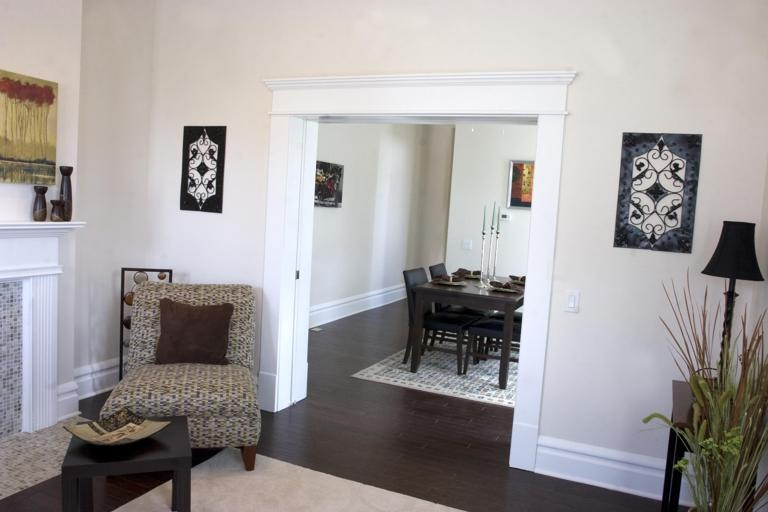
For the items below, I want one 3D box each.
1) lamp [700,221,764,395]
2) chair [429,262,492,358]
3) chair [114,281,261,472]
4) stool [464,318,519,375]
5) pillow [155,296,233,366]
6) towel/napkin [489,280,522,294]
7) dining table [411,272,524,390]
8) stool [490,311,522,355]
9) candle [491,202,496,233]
[{"bbox_3d":[2.253,0.208,3.544,0.350,0.845,1.022,11,14,34],"label":"lamp"},{"bbox_3d":[0.924,0.444,6.875,0.735,0.976,0.557,3,6,27],"label":"chair"},{"bbox_3d":[-1.515,0.889,4.591,1.284,1.295,1.336,0,3,-8],"label":"chair"},{"bbox_3d":[1.265,0.958,6.326,0.643,0.570,0.618,3,11,17],"label":"stool"},{"bbox_3d":[-1.563,0.637,4.440,0.519,0.467,0.197,0,-8,-3],"label":"pillow"},{"bbox_3d":[1.355,0.358,6.164,0.181,0.061,0.244,-3,7,-44],"label":"towel/napkin"},{"bbox_3d":[0.984,0.840,6.246,1.115,0.980,1.132,5,6,23],"label":"dining table"},{"bbox_3d":[1.355,0.847,6.088,0.384,0.304,0.607,4,8,32],"label":"stool"},{"bbox_3d":[1.761,-0.620,8.658,0.071,0.497,0.309,5,11,10],"label":"candle"}]
